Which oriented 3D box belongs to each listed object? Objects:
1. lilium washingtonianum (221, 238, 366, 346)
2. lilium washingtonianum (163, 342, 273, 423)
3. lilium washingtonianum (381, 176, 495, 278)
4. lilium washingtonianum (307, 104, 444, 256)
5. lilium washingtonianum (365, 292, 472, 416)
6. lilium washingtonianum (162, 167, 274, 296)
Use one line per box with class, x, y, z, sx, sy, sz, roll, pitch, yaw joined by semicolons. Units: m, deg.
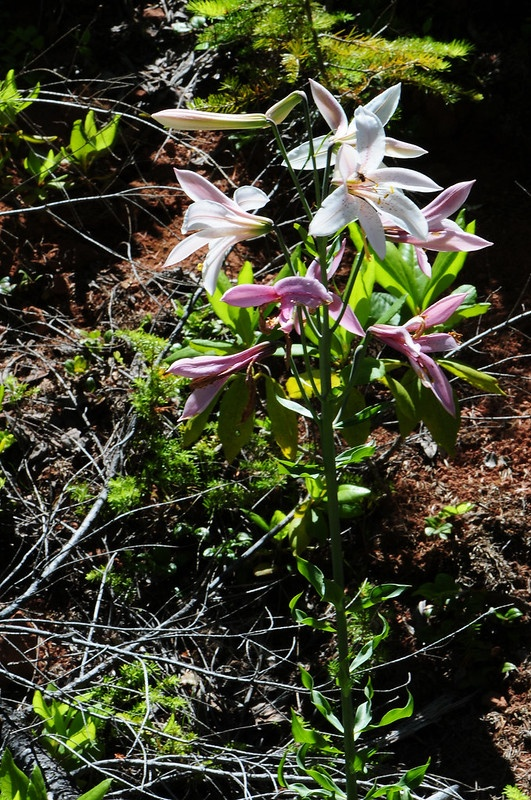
lilium washingtonianum;0.082;-0.225;1.618;0.205;0.089;0.213;-8;12;16
lilium washingtonianum;-0.093;-0.053;2.097;0.309;0.106;0.176;-18;25;-27
lilium washingtonianum;0.398;-0.393;1.773;0.280;0.166;0.077;17;3;-38
lilium washingtonianum;0.187;-0.458;1.525;0.251;0.161;0.088;18;-40;6
lilium washingtonianum;0.399;-0.127;1.982;0.192;0.317;0.392;5;1;23
lilium washingtonianum;-0.084;-0.403;1.713;0.209;0.217;0.340;-3;-3;-15
